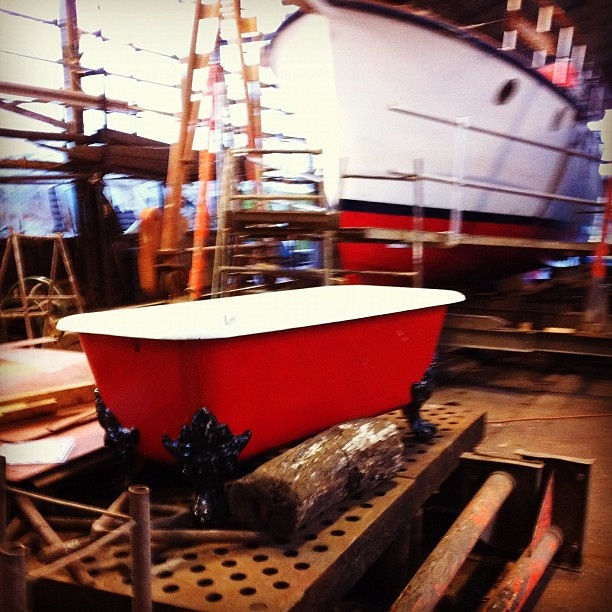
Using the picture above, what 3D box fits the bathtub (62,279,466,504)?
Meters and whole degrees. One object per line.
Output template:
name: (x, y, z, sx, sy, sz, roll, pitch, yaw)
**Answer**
bathtub: (-0.051, 0.241, 2.127, 0.795, 0.512, 1.241, 7, 12, 32)
